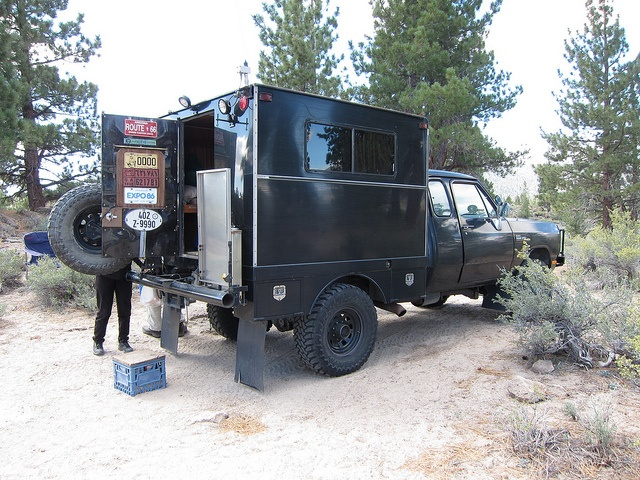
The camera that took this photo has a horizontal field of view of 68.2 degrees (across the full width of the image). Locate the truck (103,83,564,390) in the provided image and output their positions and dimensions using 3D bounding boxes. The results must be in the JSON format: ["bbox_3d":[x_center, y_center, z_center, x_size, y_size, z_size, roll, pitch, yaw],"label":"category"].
[{"bbox_3d":[0.455,-0.067,8.128,7.060,3.810,3.556,-2,3,-36],"label":"truck"}]

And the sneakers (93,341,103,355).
[{"bbox_3d":[-3.330,1.623,7.055,0.094,0.130,0.282,2,-4,-37],"label":"sneakers"}]
